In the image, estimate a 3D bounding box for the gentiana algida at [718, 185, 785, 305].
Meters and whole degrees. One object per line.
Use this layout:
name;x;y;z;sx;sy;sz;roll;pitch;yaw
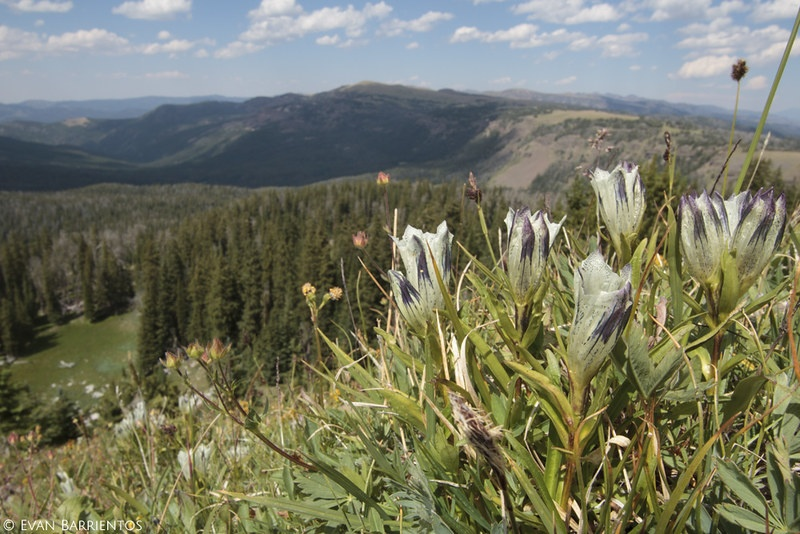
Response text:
gentiana algida;1.352;-0.093;2.223;0.212;0.424;0.328;10;19;29

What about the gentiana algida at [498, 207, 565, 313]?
gentiana algida;0.552;-0.059;2.393;0.241;0.368;0.350;3;17;10

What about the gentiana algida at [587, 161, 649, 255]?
gentiana algida;0.966;-0.279;2.577;0.245;0.365;0.367;7;18;22

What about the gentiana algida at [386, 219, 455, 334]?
gentiana algida;0.093;0.051;2.489;0.322;0.483;0.275;1;20;4

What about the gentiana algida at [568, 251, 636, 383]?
gentiana algida;0.703;0.177;2.015;0.223;0.456;0.103;-3;17;-9
